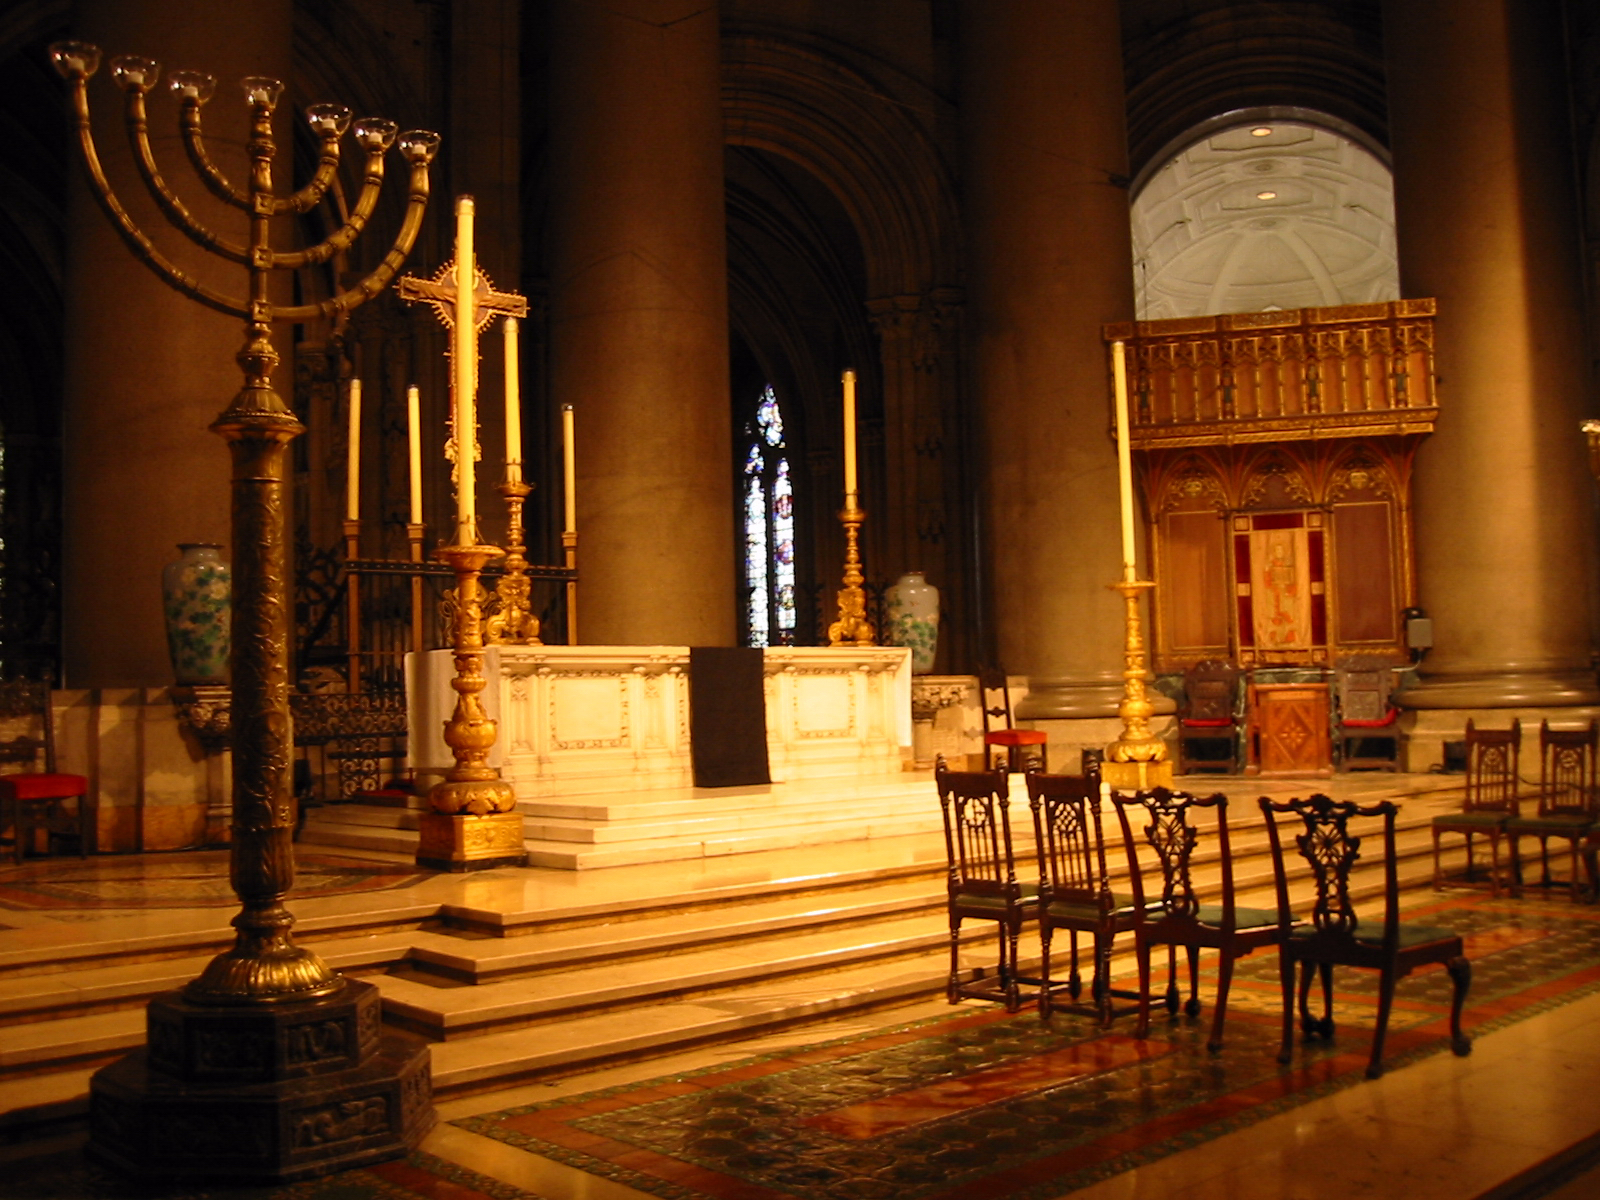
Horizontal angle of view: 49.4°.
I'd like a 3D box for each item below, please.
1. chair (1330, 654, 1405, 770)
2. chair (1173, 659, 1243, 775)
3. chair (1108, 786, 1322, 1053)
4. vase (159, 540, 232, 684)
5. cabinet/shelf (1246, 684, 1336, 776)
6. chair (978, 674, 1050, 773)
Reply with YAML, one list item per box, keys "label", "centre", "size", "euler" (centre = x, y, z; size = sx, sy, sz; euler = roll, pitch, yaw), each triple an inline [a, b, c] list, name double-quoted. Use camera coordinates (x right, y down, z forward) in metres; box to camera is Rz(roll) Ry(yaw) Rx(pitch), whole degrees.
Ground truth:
- label: "chair"
  centre: [5.163, 1.021, 15.773]
  size: [0.595, 0.993, 0.821]
  euler: [-4, -5, 19]
- label: "chair"
  centre: [3.649, 1.071, 15.424]
  size: [0.566, 0.846, 0.510]
  euler: [-1, 2, 8]
- label: "chair"
  centre: [2.000, 1.558, 8.663]
  size: [0.922, 1.128, 0.825]
  euler: [4, -7, -14]
- label: "vase"
  centre: [-4.225, 0.083, 12.254]
  size: [0.510, 1.031, 0.352]
  euler: [-3, -4, 2]
- label: "cabinet/shelf"
  centre: [4.526, 1.179, 15.616]
  size: [0.709, 0.806, 0.521]
  euler: [-4, -4, 32]
- label: "chair"
  centre: [1.890, 1.113, 15.365]
  size: [0.584, 0.842, 0.592]
  euler: [-1, 2, -14]
